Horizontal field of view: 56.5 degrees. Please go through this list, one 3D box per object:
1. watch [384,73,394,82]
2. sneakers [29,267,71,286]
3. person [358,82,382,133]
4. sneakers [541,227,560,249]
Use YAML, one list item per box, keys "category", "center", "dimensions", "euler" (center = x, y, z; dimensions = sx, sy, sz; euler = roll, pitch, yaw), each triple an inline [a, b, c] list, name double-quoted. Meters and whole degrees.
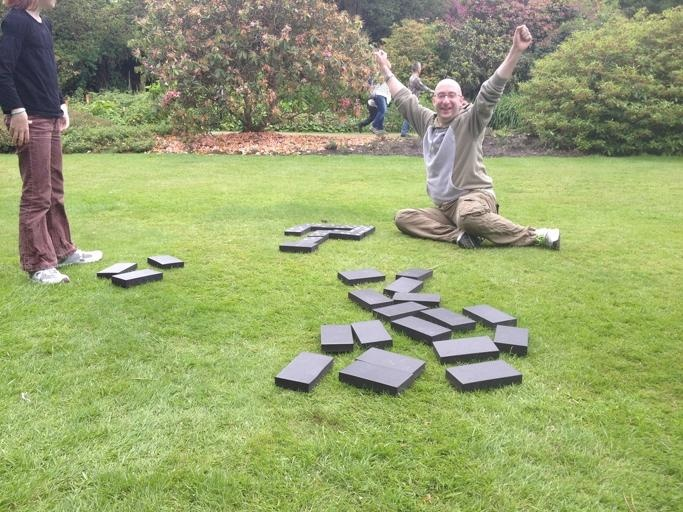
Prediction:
- category: "watch"
  center: [0.501, -1.891, 6.675]
  dimensions: [0.080, 0.088, 0.025]
  euler: [-14, -37, 34]
- category: "sneakers"
  center: [-2.287, 0.154, 5.022]
  dimensions: [0.290, 0.114, 0.128]
  euler: [0, 13, 10]
- category: "person"
  center: [0.728, -3.733, 15.805]
  dimensions: [0.754, 0.523, 1.406]
  euler: [-18, -9, -3]
- category: "sneakers"
  center: [1.920, -0.164, 5.791]
  dimensions: [0.144, 0.169, 0.151]
  euler: [4, 16, 15]
